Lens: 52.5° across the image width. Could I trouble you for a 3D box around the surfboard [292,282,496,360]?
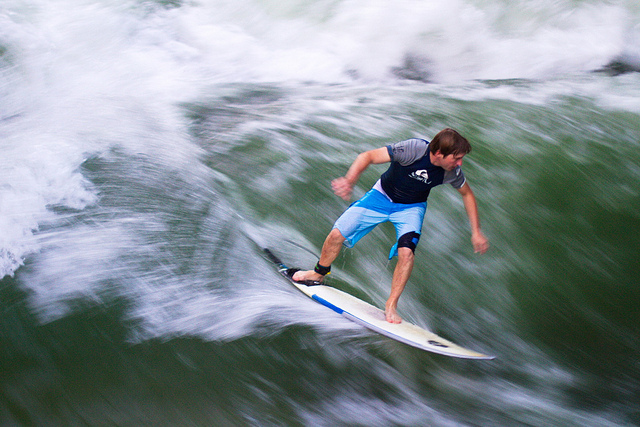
[{"bbox_3d":[0.938,1.502,8.853,3.089,0.463,0.242,17,108,27],"label":"surfboard"}]
